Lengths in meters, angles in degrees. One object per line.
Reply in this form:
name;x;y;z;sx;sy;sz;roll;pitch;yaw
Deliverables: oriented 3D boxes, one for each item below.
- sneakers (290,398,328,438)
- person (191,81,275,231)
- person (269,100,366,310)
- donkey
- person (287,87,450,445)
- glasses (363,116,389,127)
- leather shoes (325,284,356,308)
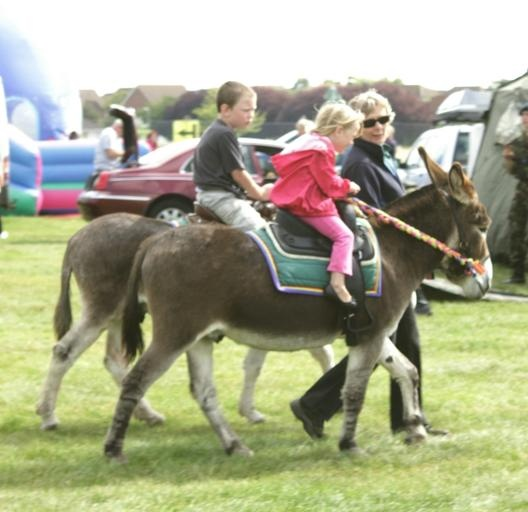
sneakers;0.306;1.110;6.185;0.170;0.357;0.125;-30;1;13
person;-0.136;-0.637;5.993;0.487;1.005;0.464;-4;21;-26
person;0.311;-0.369;5.540;0.745;1.137;0.434;1;1;-6
donkey;0.051;0.316;5.505;2.389;1.966;0.748;1;5;-9
person;0.676;0.015;6.389;0.850;2.183;1.008;0;1;-32
glasses;0.776;-0.934;6.251;0.112;0.029;0.102;-12;-1;-1
leather shoes;0.463;0.254;5.455;0.201;0.148;0.088;5;8;3
